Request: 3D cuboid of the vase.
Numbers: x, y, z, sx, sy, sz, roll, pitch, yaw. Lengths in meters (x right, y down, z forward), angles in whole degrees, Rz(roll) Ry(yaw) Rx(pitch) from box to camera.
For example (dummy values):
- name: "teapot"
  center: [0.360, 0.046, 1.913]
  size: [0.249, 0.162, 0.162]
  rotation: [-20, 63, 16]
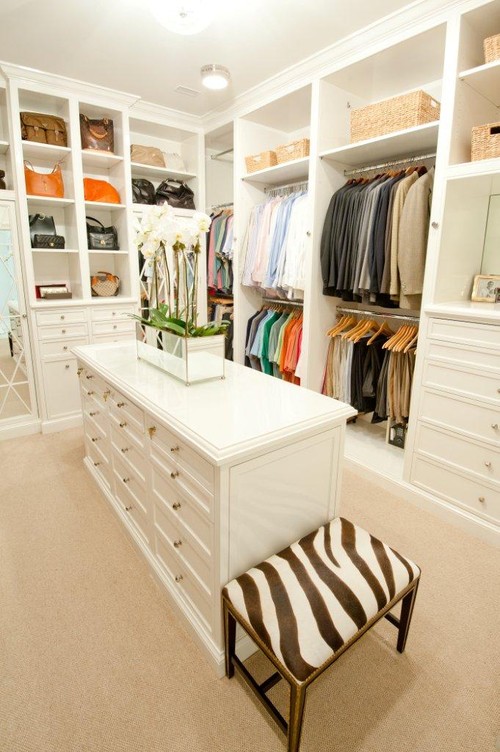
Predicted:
- name: "vase"
  center: [-0.301, -0.118, 2.038]
  size: [0.401, 0.162, 0.130]
  rotation: [-2, 0, -39]

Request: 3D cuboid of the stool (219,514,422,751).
- name: "stool"
  center: [0.195, 0.742, 1.528]
  size: [0.576, 0.427, 0.393]
  rotation: [-12, 19, -41]

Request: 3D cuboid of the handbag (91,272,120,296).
- name: "handbag"
  center: [-1.084, -0.676, 3.786]
  size: [0.200, 0.219, 0.110]
  rotation: [-7, 7, -40]

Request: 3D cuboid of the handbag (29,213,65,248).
- name: "handbag"
  center: [-1.378, -0.969, 3.422]
  size: [0.131, 0.271, 0.251]
  rotation: [10, 19, 34]

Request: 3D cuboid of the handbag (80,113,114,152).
- name: "handbag"
  center: [-1.046, -1.656, 3.517]
  size: [0.091, 0.223, 0.252]
  rotation: [12, 18, 39]
